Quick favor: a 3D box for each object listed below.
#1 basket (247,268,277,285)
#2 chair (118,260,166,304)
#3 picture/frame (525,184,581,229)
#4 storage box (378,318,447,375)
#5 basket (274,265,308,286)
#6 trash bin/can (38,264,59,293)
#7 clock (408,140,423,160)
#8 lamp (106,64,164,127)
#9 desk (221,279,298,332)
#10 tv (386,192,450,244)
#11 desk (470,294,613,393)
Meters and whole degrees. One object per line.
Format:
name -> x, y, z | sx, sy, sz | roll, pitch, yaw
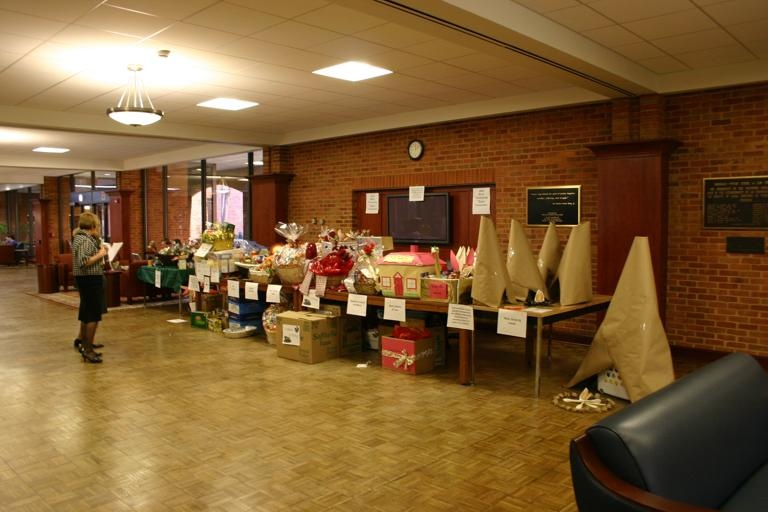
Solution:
basket -> -1.754, 0.279, 7.344 | 0.485, 0.209, 0.147 | 4, 11, 28
chair -> -5.289, 0.524, 10.817 | 1.070, 0.698, 1.069 | -2, 7, -42
picture/frame -> 2.590, -0.754, 7.735 | 1.049, 0.611, 0.101 | 2, 3, 34
storage box -> 0.421, 1.041, 6.341 | 0.786, 0.562, 0.752 | 3, 3, 41
basket -> -1.233, 0.247, 6.933 | 0.555, 0.314, 0.172 | 4, 12, 30
trash bin/can -> -8.330, 0.542, 12.726 | 0.463, 0.679, 0.436 | -5, 11, -24
clock -> 0.582, -1.924, 9.327 | 0.095, 0.365, 0.340 | -11, 14, -42
lamp -> -3.215, -2.089, 6.662 | 0.756, 0.629, 0.723 | -7, 17, -40
desk -> -1.769, 0.698, 7.415 | 1.073, 0.580, 0.548 | 6, 7, 41
tv -> 0.671, -0.694, 9.262 | 1.299, 0.696, 0.129 | 3, 4, 40
desk -> 1.768, 0.945, 5.825 | 1.092, 1.018, 1.569 | 7, 12, 40
